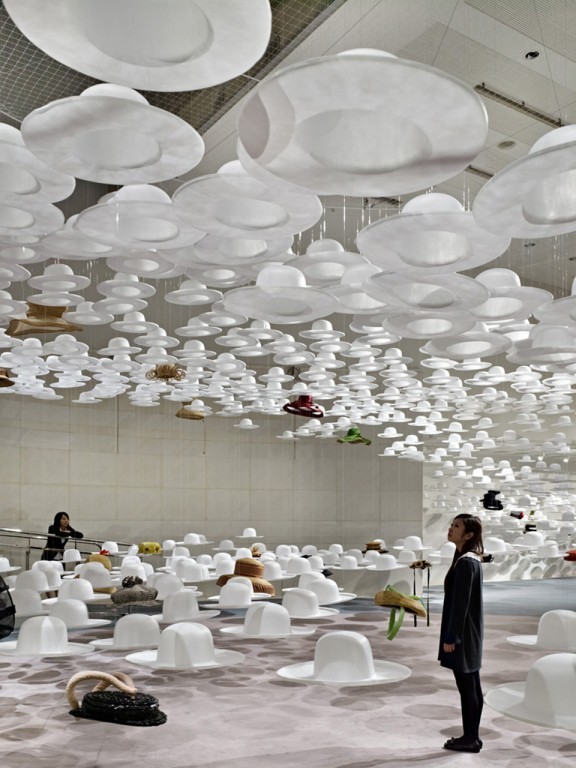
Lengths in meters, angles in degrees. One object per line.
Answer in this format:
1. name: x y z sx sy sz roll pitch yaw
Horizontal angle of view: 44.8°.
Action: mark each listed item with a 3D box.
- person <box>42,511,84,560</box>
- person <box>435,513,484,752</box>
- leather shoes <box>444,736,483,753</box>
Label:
1. person: -4.544 3.086 14.030 0.698 1.007 1.404 3 -5 -20
2. person: 1.358 1.933 5.497 0.318 1.782 0.443 -1 -6 29
3. leather shoes: 1.333 2.757 5.377 0.234 0.069 0.127 -1 -11 25
